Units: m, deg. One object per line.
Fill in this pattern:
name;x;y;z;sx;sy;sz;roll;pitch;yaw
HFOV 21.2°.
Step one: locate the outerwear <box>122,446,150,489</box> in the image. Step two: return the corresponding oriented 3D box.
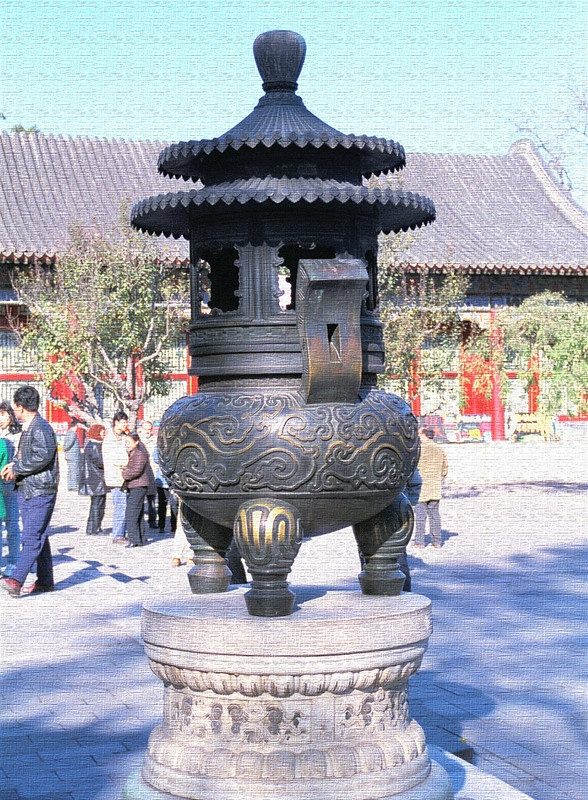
outerwear;-1.228;0.557;12.580;0.249;0.438;0.442;2;-7;-1
